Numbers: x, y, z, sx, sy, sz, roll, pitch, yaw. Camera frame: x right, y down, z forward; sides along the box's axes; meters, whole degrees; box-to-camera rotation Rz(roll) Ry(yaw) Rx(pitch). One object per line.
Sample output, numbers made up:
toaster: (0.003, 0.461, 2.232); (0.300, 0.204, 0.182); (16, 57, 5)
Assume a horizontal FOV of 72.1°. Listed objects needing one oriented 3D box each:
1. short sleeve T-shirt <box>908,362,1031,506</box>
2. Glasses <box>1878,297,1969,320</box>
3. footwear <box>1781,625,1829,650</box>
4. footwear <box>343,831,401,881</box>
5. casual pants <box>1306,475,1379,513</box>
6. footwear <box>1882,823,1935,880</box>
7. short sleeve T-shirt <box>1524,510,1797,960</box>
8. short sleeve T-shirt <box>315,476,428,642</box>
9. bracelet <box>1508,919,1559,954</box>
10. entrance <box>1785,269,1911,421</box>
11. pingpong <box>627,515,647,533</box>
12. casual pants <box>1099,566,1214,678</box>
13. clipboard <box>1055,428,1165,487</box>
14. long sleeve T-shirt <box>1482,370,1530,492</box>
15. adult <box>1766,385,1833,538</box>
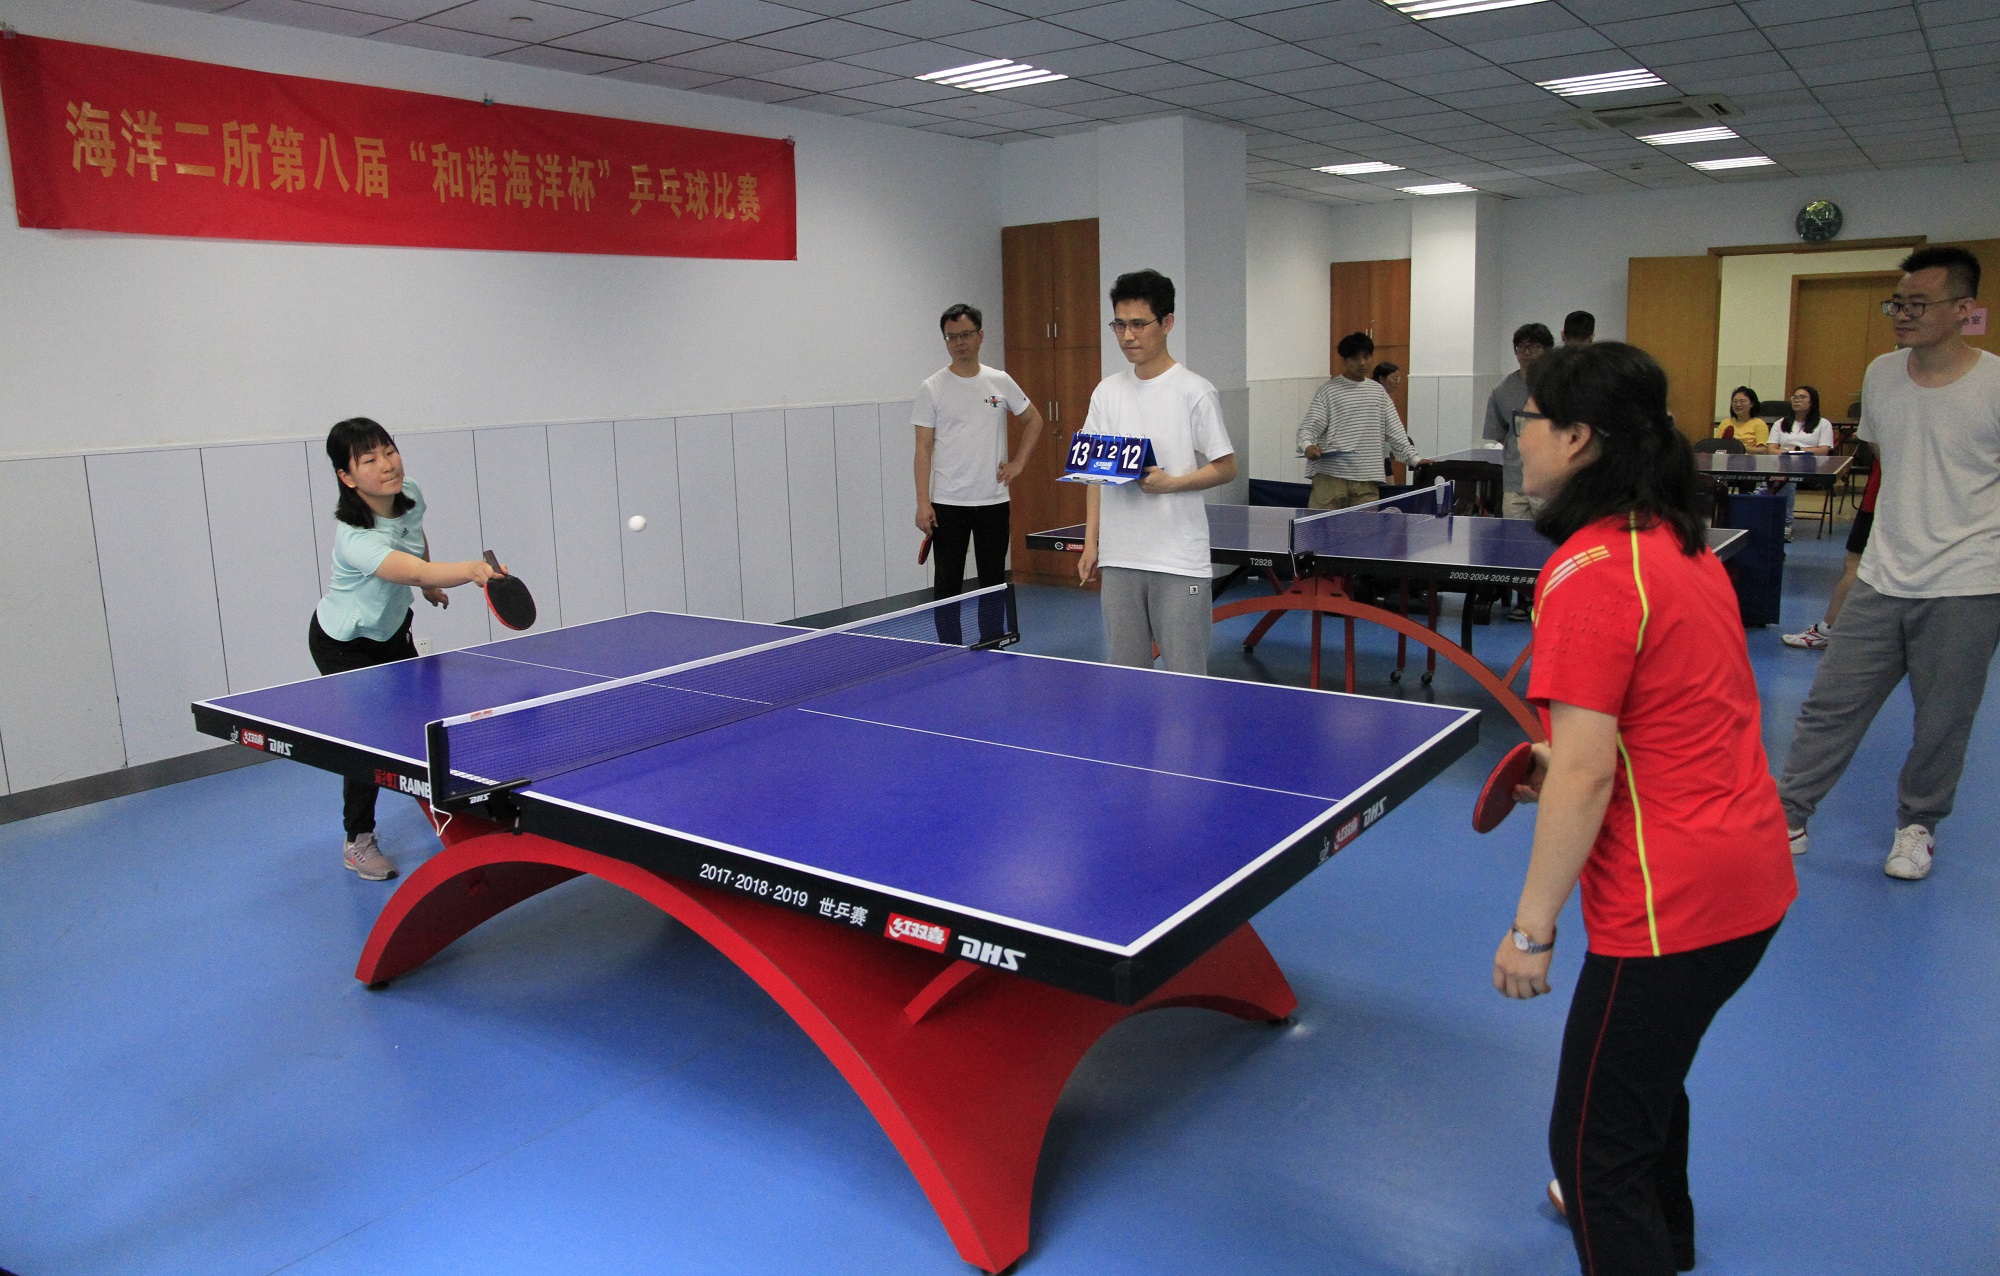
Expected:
short sleeve T-shirt: (-0.158, -1.137, 7.770); (0.656, 0.763, 0.245); (-12, 17, -34)
Glasses: (3.388, -1.226, 5.065); (0.135, 0.086, 0.243); (-15, 19, -43)
footwear: (4.776, 0.010, 8.135); (0.328, 0.153, 0.124); (2, 11, 21)
footwear: (-2.618, 0.902, 5.746); (0.302, 0.147, 0.125); (11, 21, 31)
casual pants: (2.298, -0.957, 9.114); (0.456, 0.342, 0.272); (-1, 5, 6)
footwear: (3.565, 0.849, 5.389); (0.114, 0.124, 0.319); (-1, 9, 39)
short sleeve T-shirt: (1.585, 0.245, 3.321); (0.636, 1.051, 0.329); (-5, 14, -13)
short sleeve T-shirt: (-2.588, -0.327, 5.638); (0.331, 0.562, 0.587); (23, 27, 0)
bracelet: (1.306, 0.731, 3.345); (0.074, 0.030, 0.074); (0, 3, -25)
entrance: (9.179, -3.005, 14.546); (1.247, 0.102, 2.318); (8, -24, 33)
pingpong: (-1.990, -0.626, 7.508); (0.135, 0.044, 0.164); (3, 23, 0)
casual pants: (0.648, -0.086, 5.760); (0.520, 0.535, 0.301); (7, 24, 18)
clipboard: (0.446, -0.719, 5.544); (0.360, 0.206, 0.215); (1, 14, 12)
long sleeve T-shirt: (3.219, -1.268, 8.674); (0.335, 0.710, 0.163); (-10, 20, -17)
adult: (6.508, -1.394, 11.263); (0.687, 1.264, 0.526); (-17, 18, -32)
